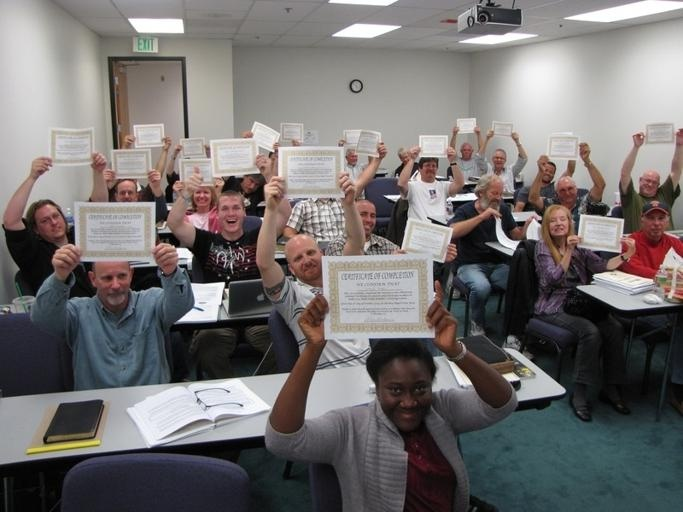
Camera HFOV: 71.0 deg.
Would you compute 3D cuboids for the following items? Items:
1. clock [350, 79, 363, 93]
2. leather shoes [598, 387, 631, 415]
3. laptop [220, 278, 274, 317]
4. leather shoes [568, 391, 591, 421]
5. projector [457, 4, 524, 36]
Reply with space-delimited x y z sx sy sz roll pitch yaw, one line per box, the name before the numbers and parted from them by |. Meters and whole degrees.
clock | 0.344 -3.965 11.062 0.266 0.309 0.281 -2 2 -25
leather shoes | 2.038 1.046 3.554 0.123 0.131 0.229 -5 16 -19
laptop | -0.606 0.271 3.111 0.293 0.228 0.215 -2 8 -25
leather shoes | 1.725 1.087 3.505 0.078 0.097 0.234 -5 17 -3
projector | 1.606 -2.659 5.462 0.439 0.217 0.453 -6 17 -18
